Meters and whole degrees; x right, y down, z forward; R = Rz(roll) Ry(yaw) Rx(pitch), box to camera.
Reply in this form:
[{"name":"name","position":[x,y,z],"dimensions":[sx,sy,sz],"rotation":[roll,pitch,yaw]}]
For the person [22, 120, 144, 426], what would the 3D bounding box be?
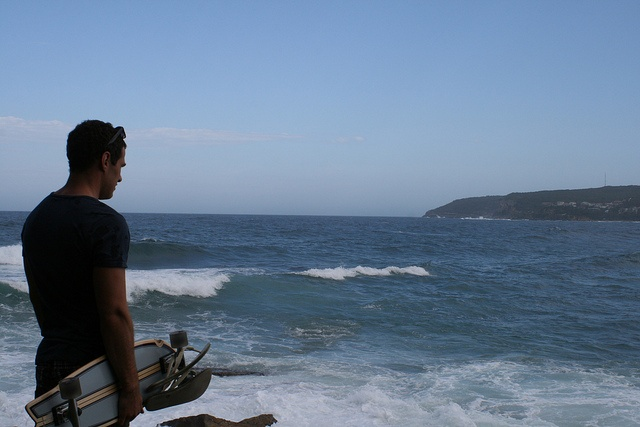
[{"name":"person","position":[-2.772,0.690,6.824],"dimensions":[1.352,3.536,0.747],"rotation":[1,7,-18]}]
